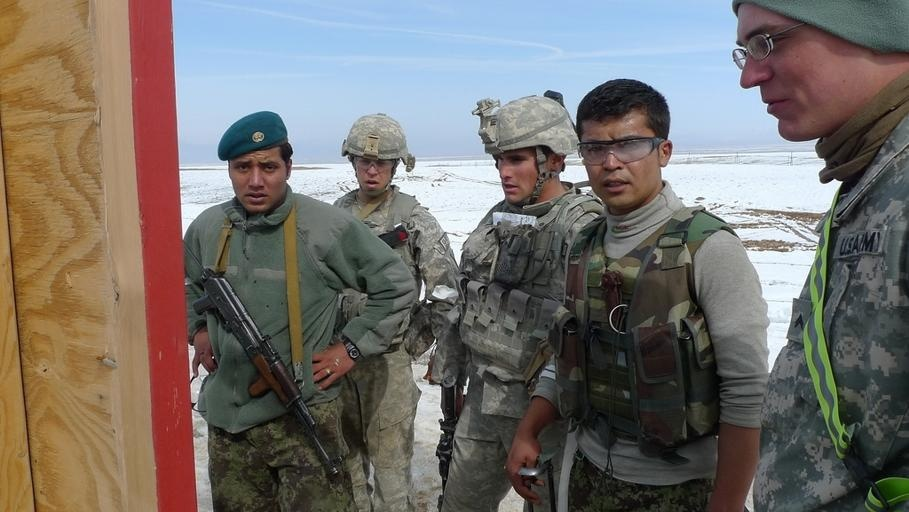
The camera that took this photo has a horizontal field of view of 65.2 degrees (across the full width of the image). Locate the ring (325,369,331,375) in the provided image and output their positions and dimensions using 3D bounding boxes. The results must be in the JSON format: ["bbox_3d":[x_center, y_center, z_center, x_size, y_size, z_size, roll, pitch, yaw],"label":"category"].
[{"bbox_3d":[-0.741,0.682,4.189,0.032,0.027,0.008,4,-12,-37],"label":"ring"}]

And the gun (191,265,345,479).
[{"bbox_3d":[-1.058,0.667,4.114,0.579,1.357,0.144,-31,0,22],"label":"gun"}]
